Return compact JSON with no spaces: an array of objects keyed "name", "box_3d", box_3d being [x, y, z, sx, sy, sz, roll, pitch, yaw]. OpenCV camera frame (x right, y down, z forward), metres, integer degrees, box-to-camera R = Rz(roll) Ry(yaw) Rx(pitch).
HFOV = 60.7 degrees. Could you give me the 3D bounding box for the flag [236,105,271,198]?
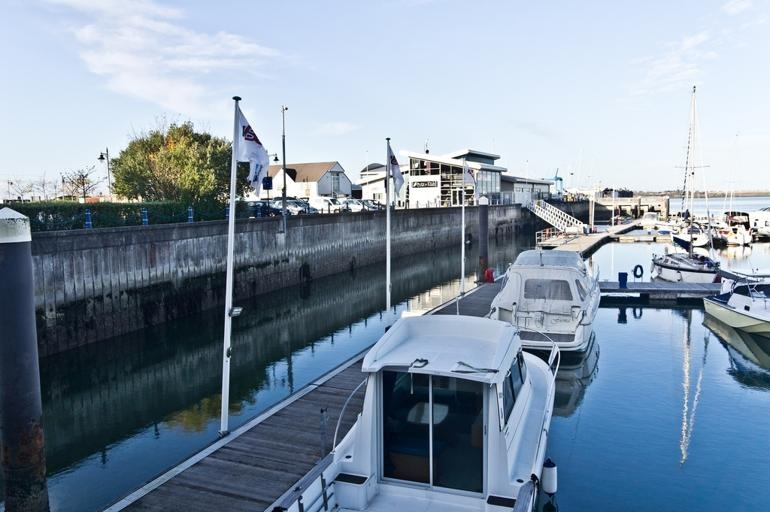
[{"name":"flag","box_3d":[-3.730,-2.922,18.353,0.673,2.382,0.857,3,13,19]}]
